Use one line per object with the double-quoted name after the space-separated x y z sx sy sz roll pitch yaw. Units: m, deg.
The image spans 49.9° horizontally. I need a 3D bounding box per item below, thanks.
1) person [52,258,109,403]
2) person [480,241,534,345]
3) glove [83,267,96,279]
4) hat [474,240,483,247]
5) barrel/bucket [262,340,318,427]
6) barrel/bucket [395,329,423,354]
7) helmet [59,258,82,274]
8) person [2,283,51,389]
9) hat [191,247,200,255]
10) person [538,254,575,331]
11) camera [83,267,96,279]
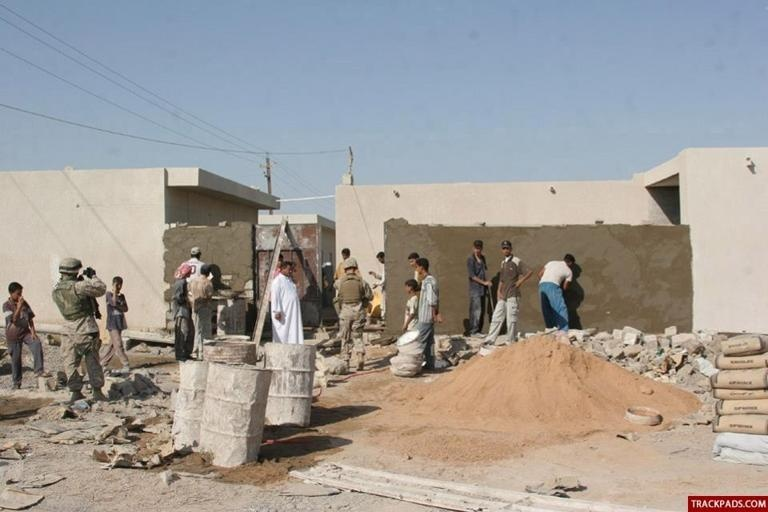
-5.393 1.310 14.778 0.791 2.442 0.891 -8 16 -28 "person"
2.658 0.851 17.825 0.767 2.136 1.186 6 15 21 "person"
-5.968 0.336 16.655 0.263 0.250 0.065 2 -6 -7 "glove"
2.138 -0.289 18.760 0.138 0.157 0.182 11 -6 10 "hat"
-1.662 2.187 14.197 0.905 1.369 0.910 1 -10 0 "barrel/bucket"
0.490 1.683 16.571 0.364 0.474 0.434 -12 18 -39 "barrel/bucket"
-5.653 0.176 14.923 0.330 0.272 0.347 -1 6 -1 "helmet"
-7.039 1.439 16.041 0.631 1.967 1.233 -7 16 -24 "person"
-4.420 -0.128 19.262 0.196 0.185 0.169 -16 23 -40 "hat"
3.925 0.874 18.689 0.862 1.905 0.679 -36 47 -25 "person"
-6.036 0.334 16.842 0.222 0.209 0.051 12 24 -31 "camera"
